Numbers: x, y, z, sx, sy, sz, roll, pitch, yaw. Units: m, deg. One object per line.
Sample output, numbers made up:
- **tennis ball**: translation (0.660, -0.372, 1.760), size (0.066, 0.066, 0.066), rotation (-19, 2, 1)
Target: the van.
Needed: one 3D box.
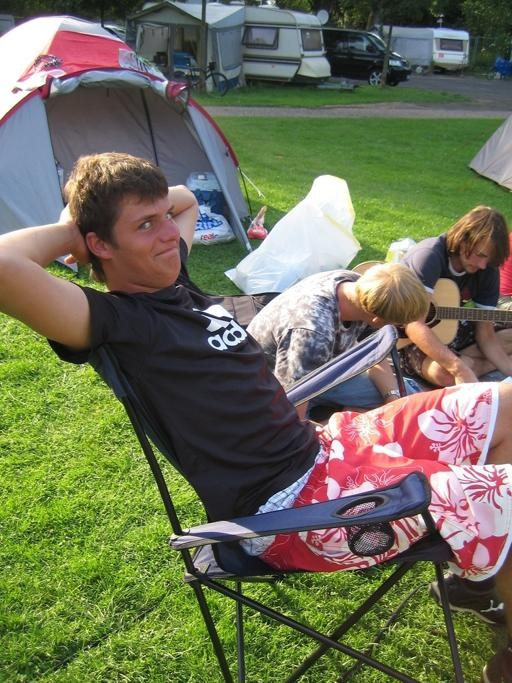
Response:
- **van**: translation (3.716, -9.816, 19.990), size (1.874, 1.692, 3.527), rotation (-42, 47, -18)

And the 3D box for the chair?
- **chair**: translation (0.057, 0.491, 1.672), size (0.733, 0.954, 0.729), rotation (-17, 19, 8)

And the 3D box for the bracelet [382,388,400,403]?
- **bracelet**: translation (0.568, 0.229, 2.530), size (0.070, 0.073, 0.048), rotation (40, 82, 17)
